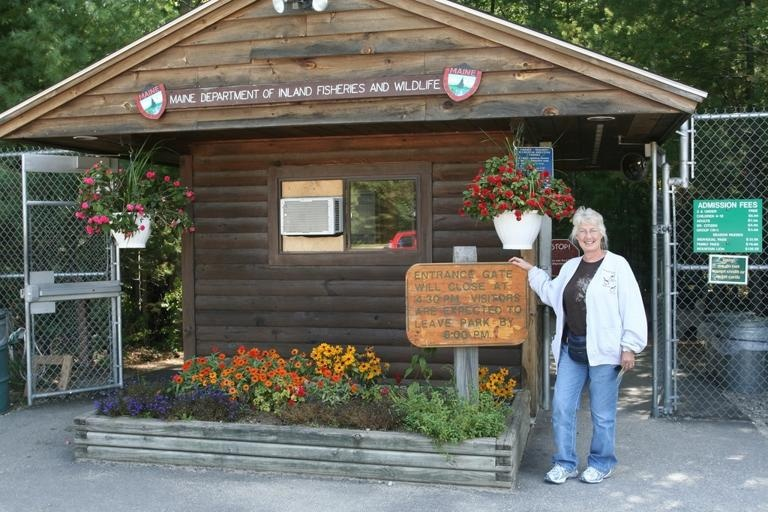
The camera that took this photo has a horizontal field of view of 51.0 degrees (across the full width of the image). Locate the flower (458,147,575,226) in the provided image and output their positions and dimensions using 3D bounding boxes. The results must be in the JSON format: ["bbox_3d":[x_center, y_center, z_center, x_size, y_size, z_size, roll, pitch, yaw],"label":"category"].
[{"bbox_3d":[1.582,-0.788,9.567,0.969,0.614,0.920,4,1,6],"label":"flower"}]

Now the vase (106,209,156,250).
[{"bbox_3d":[-3.290,-0.320,10.646,0.509,0.345,0.481,0,4,-1],"label":"vase"}]

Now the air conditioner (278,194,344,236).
[{"bbox_3d":[-0.924,-0.557,11.439,0.888,0.517,0.478,1,3,29],"label":"air conditioner"}]

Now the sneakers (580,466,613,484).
[{"bbox_3d":[2.398,2.442,8.993,0.406,0.151,0.139,-1,-25,-15],"label":"sneakers"}]

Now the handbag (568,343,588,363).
[{"bbox_3d":[2.142,1.071,8.908,0.177,0.220,0.090,-10,-14,25],"label":"handbag"}]

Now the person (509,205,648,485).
[{"bbox_3d":[2.264,0.994,8.941,1.201,2.978,0.847,3,12,20],"label":"person"}]

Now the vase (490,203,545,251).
[{"bbox_3d":[1.516,-0.296,9.491,0.554,0.388,0.539,18,-3,-8],"label":"vase"}]
